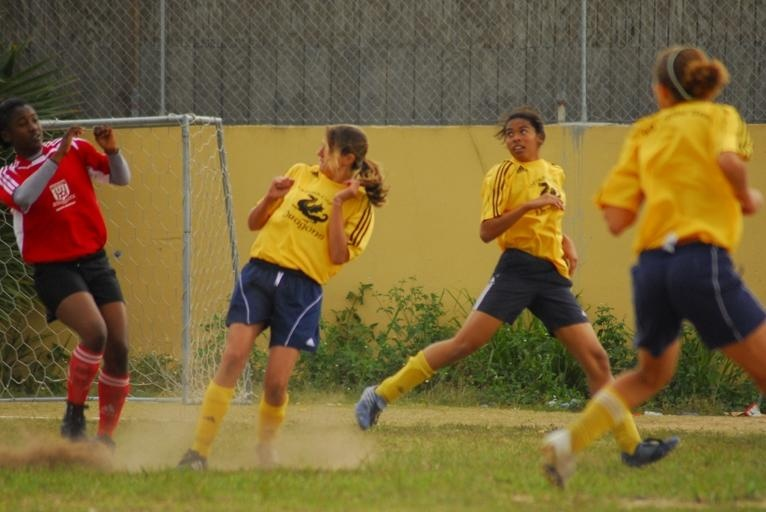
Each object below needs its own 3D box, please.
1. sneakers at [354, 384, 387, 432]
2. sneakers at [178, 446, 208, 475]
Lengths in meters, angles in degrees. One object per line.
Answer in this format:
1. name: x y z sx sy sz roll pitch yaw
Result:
1. sneakers: -0.125 1.352 11.363 0.166 0.167 0.407 -9 -16 -23
2. sneakers: -1.600 1.713 10.062 0.181 0.172 0.162 26 -19 34
